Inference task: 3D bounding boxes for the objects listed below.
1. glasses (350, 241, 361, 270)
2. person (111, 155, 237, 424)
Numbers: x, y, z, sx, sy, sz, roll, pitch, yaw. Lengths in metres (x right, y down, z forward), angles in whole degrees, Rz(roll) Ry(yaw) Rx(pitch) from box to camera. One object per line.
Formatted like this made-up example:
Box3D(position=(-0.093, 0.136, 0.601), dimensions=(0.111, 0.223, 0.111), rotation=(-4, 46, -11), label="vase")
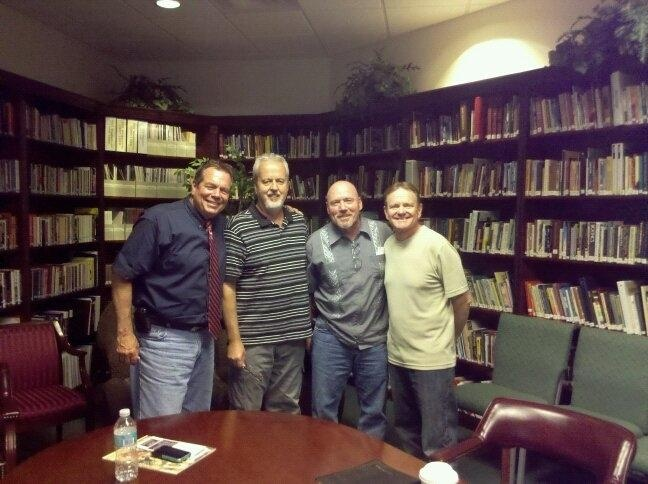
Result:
Box3D(position=(0.203, 0.086, 3.319), dimensions=(0.056, 0.162, 0.097), rotation=(0, 14, 1), label="glasses")
Box3D(position=(-0.879, 0.295, 3.136), dimensions=(0.746, 1.499, 0.472), rotation=(-6, 16, -24), label="person")
